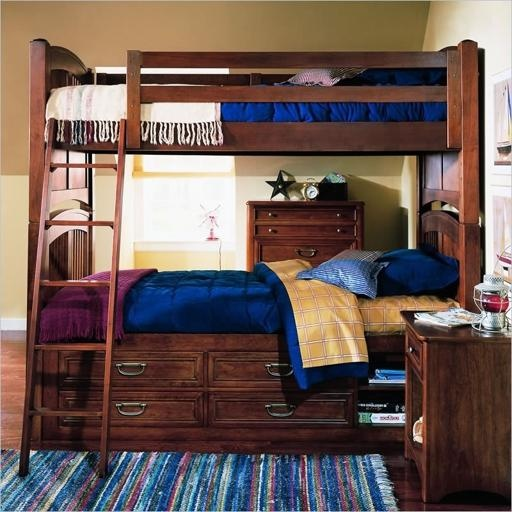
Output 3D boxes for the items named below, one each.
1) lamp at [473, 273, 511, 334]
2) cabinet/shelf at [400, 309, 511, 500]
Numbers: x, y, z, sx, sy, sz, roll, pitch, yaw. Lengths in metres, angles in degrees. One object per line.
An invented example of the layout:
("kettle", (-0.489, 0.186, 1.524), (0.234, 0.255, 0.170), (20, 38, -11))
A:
("lamp", (0.954, 0.197, 2.480), (0.217, 0.251, 0.213), (0, 0, 3))
("cabinet/shelf", (0.739, 0.572, 2.810), (0.652, 0.857, 1.006), (0, 3, 8))
